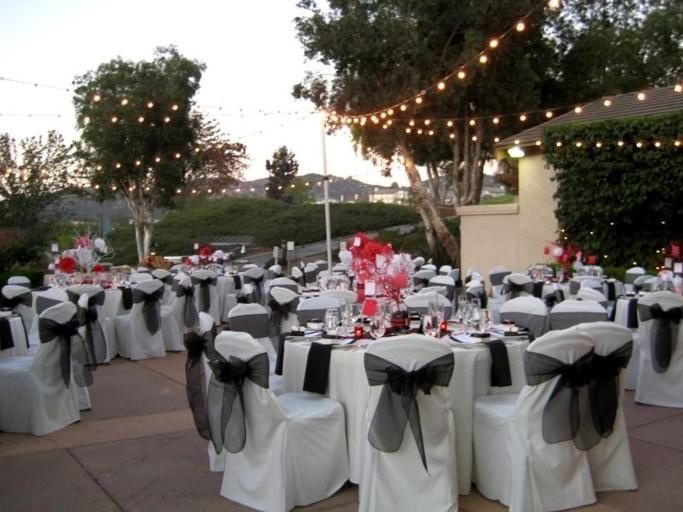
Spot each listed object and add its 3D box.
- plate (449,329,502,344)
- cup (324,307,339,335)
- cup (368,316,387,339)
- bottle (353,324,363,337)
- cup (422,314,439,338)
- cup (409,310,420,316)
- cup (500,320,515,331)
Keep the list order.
[{"bbox_3d":[1.272,0.766,5.499,0.461,0.057,0.410,0,10,14],"label":"plate"},{"bbox_3d":[-0.086,0.630,5.815,0.125,0.235,0.290,0,9,6],"label":"cup"},{"bbox_3d":[0.362,0.691,5.624,0.164,0.285,0.178,-2,-1,0],"label":"cup"},{"bbox_3d":[0.173,0.744,5.752,0.086,0.111,0.087,0,-1,0],"label":"bottle"},{"bbox_3d":[0.868,0.671,5.568,0.162,0.276,0.181,0,-6,-7],"label":"cup"},{"bbox_3d":[0.878,0.672,6.879,0.061,0.072,0.065,0,-1,0],"label":"cup"},{"bbox_3d":[1.713,0.712,5.870,0.117,0.081,0.171,0,0,7],"label":"cup"}]
